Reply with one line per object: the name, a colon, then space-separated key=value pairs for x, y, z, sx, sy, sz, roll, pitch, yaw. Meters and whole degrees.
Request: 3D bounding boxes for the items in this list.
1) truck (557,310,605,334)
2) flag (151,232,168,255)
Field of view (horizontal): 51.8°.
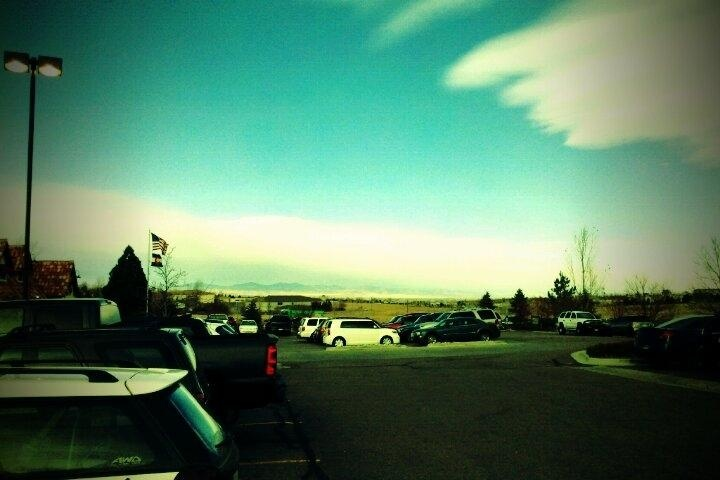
truck: x=14.585 y=5.458 z=48.779 sx=1.395 sy=1.373 sz=2.869 roll=3 pitch=-11 yaw=-20
flag: x=-8.516 y=0.168 z=31.059 sx=0.087 sy=1.119 sz=1.153 roll=-4 pitch=-6 yaw=40
